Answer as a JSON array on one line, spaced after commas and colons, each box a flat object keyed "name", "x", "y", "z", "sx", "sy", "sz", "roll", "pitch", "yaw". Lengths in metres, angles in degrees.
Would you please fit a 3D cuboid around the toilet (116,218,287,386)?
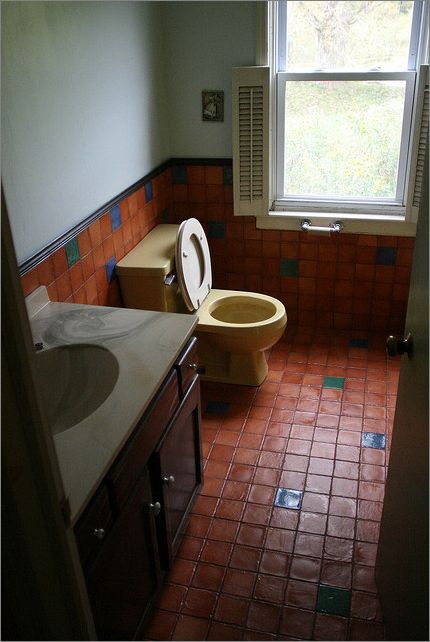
[{"name": "toilet", "x": 0.008, "y": -0.101, "z": 2.425, "sx": 0.658, "sy": 0.919, "sz": 0.571, "roll": 2, "pitch": 28, "yaw": 16}]
